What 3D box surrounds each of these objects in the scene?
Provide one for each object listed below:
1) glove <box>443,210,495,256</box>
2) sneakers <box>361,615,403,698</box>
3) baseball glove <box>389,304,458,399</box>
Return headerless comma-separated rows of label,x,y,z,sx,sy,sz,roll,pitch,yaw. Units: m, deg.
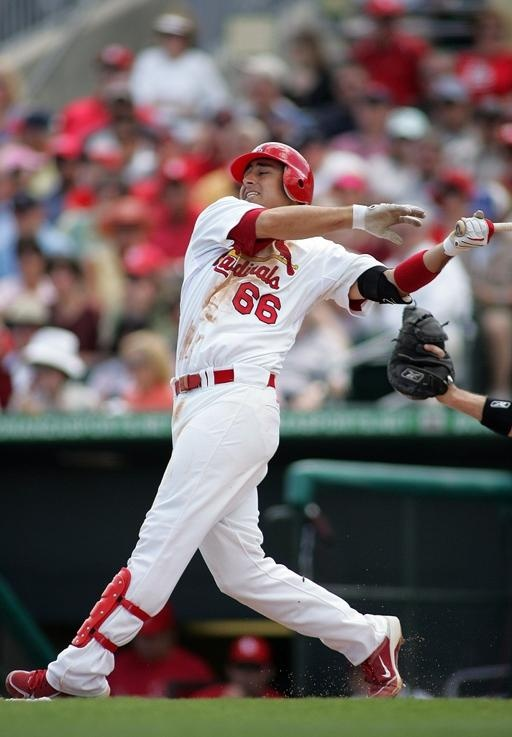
glove,0.665,-0.427,3.179,0.168,0.070,0.116,-19,79,-2
sneakers,0.425,0.976,3.415,0.155,0.106,0.271,-2,75,-18
baseball glove,0.557,-0.047,3.473,0.296,0.139,0.277,16,73,-24
